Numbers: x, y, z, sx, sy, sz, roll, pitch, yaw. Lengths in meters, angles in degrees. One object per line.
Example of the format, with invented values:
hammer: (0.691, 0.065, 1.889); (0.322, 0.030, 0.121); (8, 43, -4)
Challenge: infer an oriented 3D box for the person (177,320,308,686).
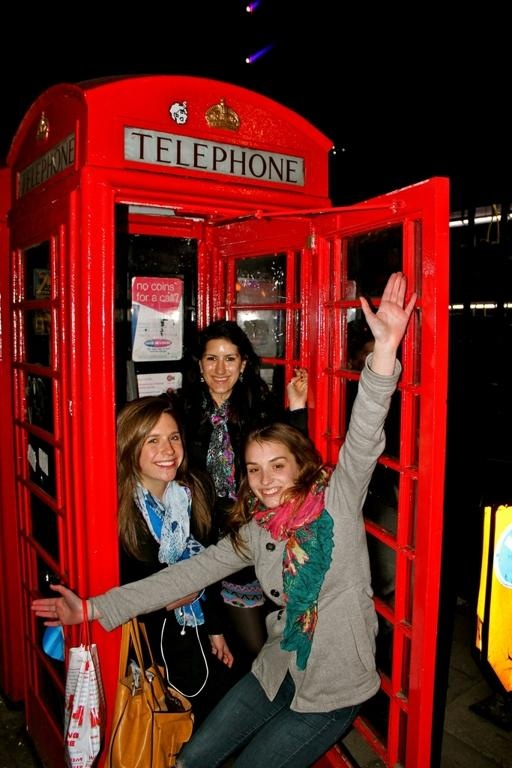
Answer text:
person: (-0.190, 0.565, 3.157); (0.805, 1.772, 0.540); (9, 17, 14)
